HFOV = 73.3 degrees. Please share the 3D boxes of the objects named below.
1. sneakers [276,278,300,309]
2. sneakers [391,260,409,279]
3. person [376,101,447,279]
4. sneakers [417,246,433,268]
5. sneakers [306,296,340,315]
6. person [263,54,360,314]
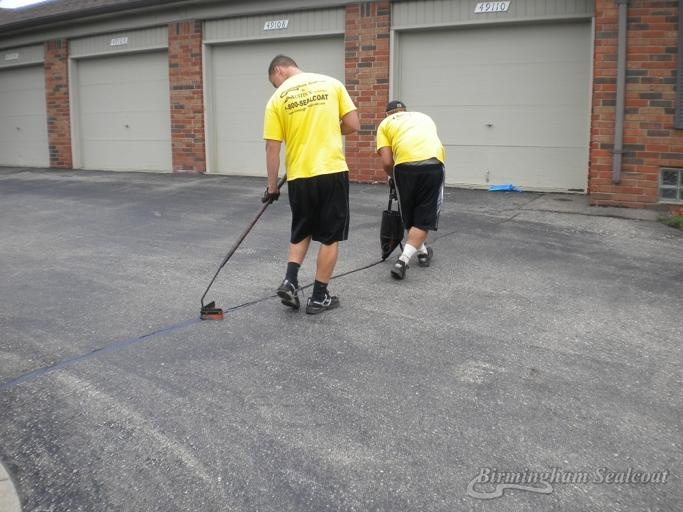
[{"bbox_3d":[-0.471,0.347,4.067,0.176,0.291,0.223,0,10,-2],"label":"sneakers"},{"bbox_3d":[0.609,0.147,4.924,0.115,0.131,0.268,8,-2,15],"label":"sneakers"},{"bbox_3d":[0.755,-0.799,5.201,0.760,1.968,1.032,2,10,9],"label":"person"},{"bbox_3d":[0.988,-0.003,5.456,0.109,0.148,0.339,-1,31,20],"label":"sneakers"},{"bbox_3d":[-0.180,0.445,4.161,0.319,0.142,0.119,-12,18,-43],"label":"sneakers"},{"bbox_3d":[-0.304,-0.662,4.280,0.821,2.430,0.828,-1,-4,-15],"label":"person"}]
